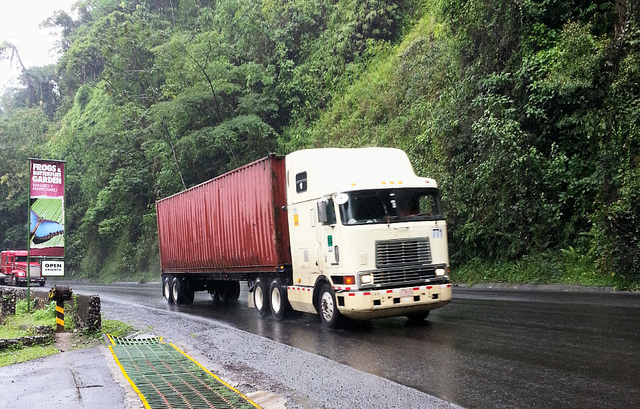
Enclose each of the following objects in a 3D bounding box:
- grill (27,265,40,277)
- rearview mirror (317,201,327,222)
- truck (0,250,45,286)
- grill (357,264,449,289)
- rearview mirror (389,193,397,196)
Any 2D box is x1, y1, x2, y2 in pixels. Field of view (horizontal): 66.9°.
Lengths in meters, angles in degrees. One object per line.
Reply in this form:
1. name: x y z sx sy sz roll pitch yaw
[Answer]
1. grill: -13.813 3.178 23.150 0.555 0.797 1.005 2 -3 -33
2. rearview mirror: 0.094 0.228 15.139 0.301 0.628 0.155 -3 3 5
3. truck: -21.578 4.529 34.628 3.243 2.793 5.173 7 -15 -41
4. grill: 2.551 2.151 14.616 2.901 0.565 0.153 -5 3 -13
5. rearview mirror: 2.293 -0.301 14.948 0.238 0.088 0.065 -4 3 -5
